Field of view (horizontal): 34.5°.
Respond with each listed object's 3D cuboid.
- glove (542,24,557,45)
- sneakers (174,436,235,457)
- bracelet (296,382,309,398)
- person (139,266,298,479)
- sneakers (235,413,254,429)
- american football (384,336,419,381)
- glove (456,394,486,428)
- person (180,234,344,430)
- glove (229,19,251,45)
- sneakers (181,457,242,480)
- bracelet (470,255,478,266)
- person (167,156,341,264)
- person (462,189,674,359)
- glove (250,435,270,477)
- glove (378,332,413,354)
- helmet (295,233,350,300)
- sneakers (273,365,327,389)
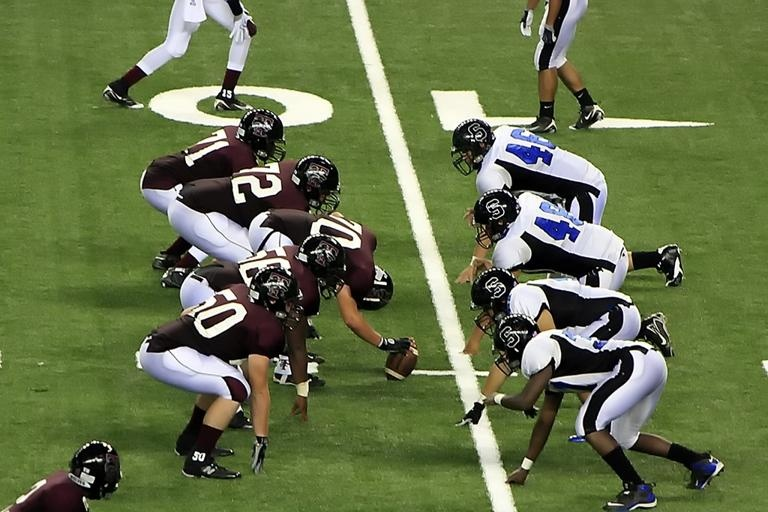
[{"bbox_3d":[2.064,-2.745,15.348,0.105,0.223,0.166,-37,75,-18],"label":"glove"},{"bbox_3d":[-1.586,1.650,10.785,0.619,0.186,0.169,1,22,-15],"label":"sneakers"},{"bbox_3d":[-0.711,1.180,10.915,0.164,0.106,0.140,-3,8,-4],"label":"bracelet"},{"bbox_3d":[-1.442,0.957,10.527,1.177,1.804,0.665,9,14,-4],"label":"person"},{"bbox_3d":[-1.282,1.495,11.165,0.216,0.102,0.086,13,-19,-13],"label":"sneakers"},{"bbox_3d":[0.163,0.976,11.719,0.173,0.378,0.325,33,-12,-39],"label":"american football"},{"bbox_3d":[0.742,1.398,10.966,0.160,0.443,0.188,39,57,3],"label":"glove"},{"bbox_3d":[-1.059,0.731,10.965,1.750,1.563,1.065,-9,37,-16],"label":"person"},{"bbox_3d":[-1.844,-2.916,15.975,0.240,0.324,0.232,8,13,-9],"label":"glove"},{"bbox_3d":[-1.469,1.814,10.530,0.561,0.175,0.162,1,1,-8],"label":"sneakers"},{"bbox_3d":[0.949,0.045,12.813,0.087,0.112,0.106,4,9,30],"label":"bracelet"},{"bbox_3d":[-1.278,-0.559,12.636,1.736,0.908,0.966,-8,44,5],"label":"person"},{"bbox_3d":[1.691,-0.110,12.134,2.487,0.837,1.299,-2,32,6],"label":"person"},{"bbox_3d":[-1.058,1.676,10.504,0.108,0.367,0.154,10,13,-7],"label":"glove"},{"bbox_3d":[0.081,0.836,11.648,0.376,0.165,0.165,1,15,-31],"label":"glove"},{"bbox_3d":[-0.555,0.077,11.064,0.461,0.524,0.245,7,14,-9],"label":"helmet"},{"bbox_3d":[-0.816,1.155,11.720,0.365,0.091,0.192,4,7,3],"label":"sneakers"}]
